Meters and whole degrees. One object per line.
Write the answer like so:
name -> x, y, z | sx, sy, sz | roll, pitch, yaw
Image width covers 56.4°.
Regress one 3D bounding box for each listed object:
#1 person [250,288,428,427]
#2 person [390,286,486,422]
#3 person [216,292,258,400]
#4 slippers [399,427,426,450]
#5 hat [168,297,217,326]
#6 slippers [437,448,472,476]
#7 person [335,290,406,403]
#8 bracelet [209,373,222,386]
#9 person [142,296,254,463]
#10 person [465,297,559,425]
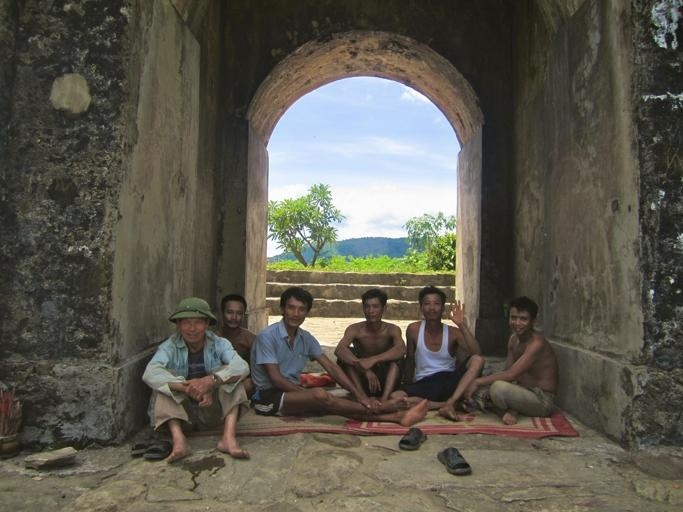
person -> -0.073, 0.849, 5.495 | 1.563, 1.188, 0.695 | -2, -2, 28
person -> 0.871, 0.832, 5.796 | 0.774, 1.185, 1.037 | -1, -2, -18
person -> -0.979, 0.827, 5.872 | 0.509, 0.911, 0.582 | 2, 10, 10
slippers -> 0.553, 1.400, 4.887 | 0.156, 0.104, 0.341 | 6, 13, 26
hat -> -1.126, 0.428, 4.961 | 0.280, 0.142, 0.288 | 0, -9, 0
slippers -> 0.787, 1.435, 4.462 | 0.176, 0.091, 0.317 | -5, 13, -27
person -> 0.302, 0.896, 6.107 | 0.617, 1.172, 0.820 | -2, -7, 14
bracelet -> -0.936, 0.928, 4.769 | 0.062, 0.103, 0.092 | -12, -10, -9
person -> -1.077, 0.894, 4.741 | 0.764, 1.056, 0.757 | -1, 11, -10
person -> 1.474, 0.950, 5.940 | 0.872, 1.287, 0.945 | 4, -6, -14
